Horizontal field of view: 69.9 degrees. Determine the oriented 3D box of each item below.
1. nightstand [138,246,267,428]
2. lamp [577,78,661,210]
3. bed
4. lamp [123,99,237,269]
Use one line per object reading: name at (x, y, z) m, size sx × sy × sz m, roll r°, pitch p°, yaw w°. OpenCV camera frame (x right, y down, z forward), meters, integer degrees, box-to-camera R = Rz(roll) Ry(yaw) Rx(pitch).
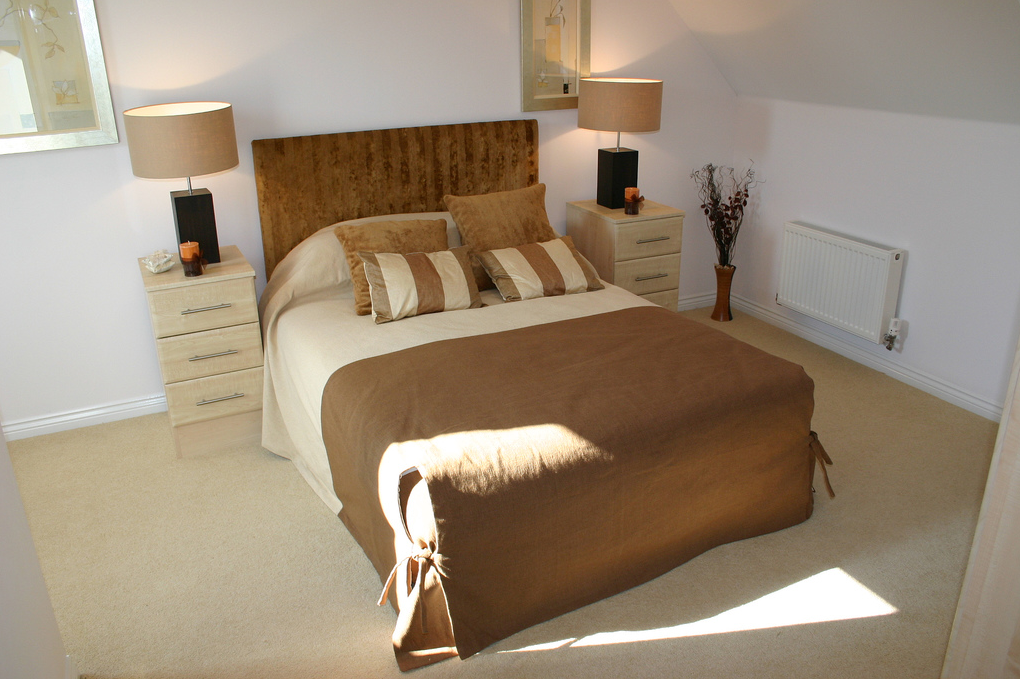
nightstand at (-1.823, 0.081, 4.332) m, size 0.578 × 0.987 × 0.494 m, roll -14°, pitch 27°, yaw -38°
lamp at (0.765, -1.367, 5.099) m, size 0.564 × 0.899 × 0.571 m, roll -3°, pitch 27°, yaw -4°
bed at (-0.084, -0.064, 4.037) m, size 2.554 × 1.983 × 2.566 m, roll -12°, pitch 23°, yaw -22°
lamp at (-1.904, -0.897, 4.143) m, size 0.593 × 0.945 × 0.600 m, roll -6°, pitch 30°, yaw -11°
